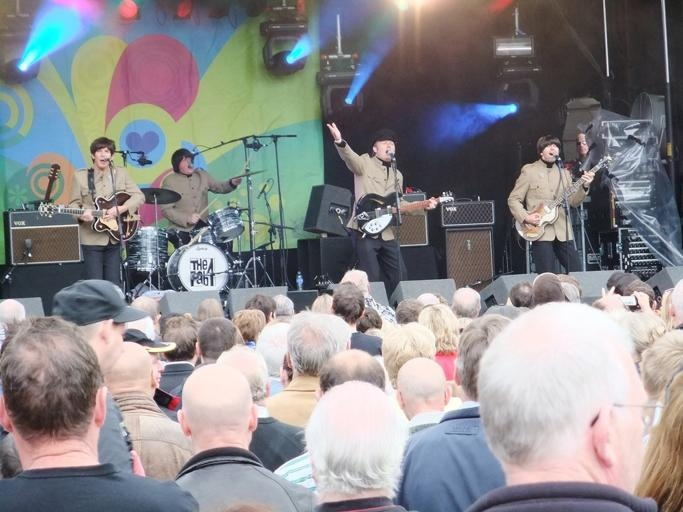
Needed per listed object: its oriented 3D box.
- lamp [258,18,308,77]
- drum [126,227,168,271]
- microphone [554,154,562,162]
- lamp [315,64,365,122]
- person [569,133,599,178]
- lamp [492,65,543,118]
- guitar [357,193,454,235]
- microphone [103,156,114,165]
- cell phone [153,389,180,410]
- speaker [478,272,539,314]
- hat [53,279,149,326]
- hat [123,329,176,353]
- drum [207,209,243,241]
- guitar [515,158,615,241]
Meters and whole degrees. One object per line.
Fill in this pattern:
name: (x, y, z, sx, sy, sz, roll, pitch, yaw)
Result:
lamp: (-0.751, -2.940, 11.885, 0.761, 0.731, 0.678, -4, -1, 24)
drum: (-2.259, -0.087, 9.857, 0.410, 0.444, 0.451, 0, 2, -2)
microphone: (2.244, -1.013, 8.799, 0.109, 0.060, 0.163, 0, -2, 4)
lamp: (-0.024, -2.206, 11.453, 0.575, 0.626, 0.432, -3, -1, -2)
person: (3.185, -1.336, 11.148, 0.174, 0.772, 0.447, 6, -16, 28)
lamp: (2.411, -2.231, 11.564, 0.526, 0.756, 0.591, 0, -1, -6)
guitar: (0.632, -0.441, 8.952, 0.887, 0.458, 0.602, -3, -1, -43)
microphone: (-2.391, -0.967, 8.691, 0.076, 0.060, 0.025, 15, -50, -32)
cell phone: (-0.796, 0.658, 3.891, 0.098, 0.042, 0.088, 30, 1, 39)
speaker: (1.490, 0.317, 7.898, 0.393, 0.321, 0.377, -3, 1, -38)
hat: (-1.051, 0.199, 3.591, 0.251, 0.138, 0.211, -4, 4, -17)
hat: (-0.923, 0.414, 4.073, 0.184, 0.059, 0.131, 14, 3, -28)
drum: (-1.346, -0.375, 10.089, 0.356, 0.381, 0.483, -3, -1, 17)
guitar: (2.316, -0.586, 8.979, 0.940, 0.906, 0.695, -3, -1, 13)
